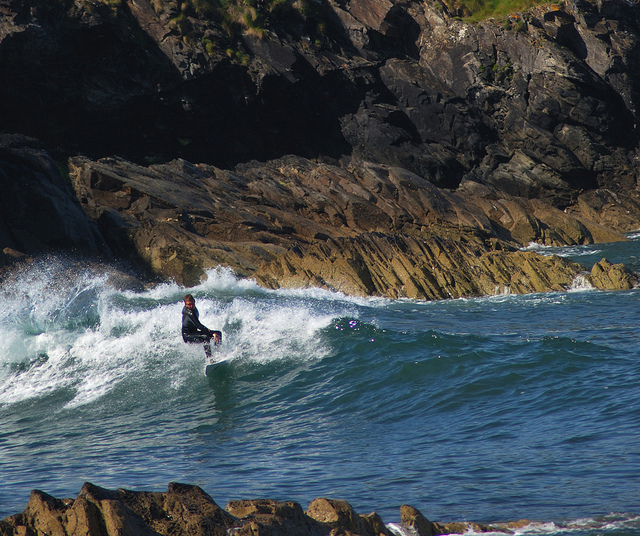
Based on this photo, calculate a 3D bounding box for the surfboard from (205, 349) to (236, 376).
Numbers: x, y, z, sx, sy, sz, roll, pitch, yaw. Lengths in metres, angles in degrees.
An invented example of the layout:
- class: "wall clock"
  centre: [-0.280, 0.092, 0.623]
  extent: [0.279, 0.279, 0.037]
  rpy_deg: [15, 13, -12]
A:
- class: "surfboard"
  centre: [-4.938, 4.651, 83.448]
  extent: [0.383, 0.308, 1.823]
  rpy_deg: [-3, 17, 32]
